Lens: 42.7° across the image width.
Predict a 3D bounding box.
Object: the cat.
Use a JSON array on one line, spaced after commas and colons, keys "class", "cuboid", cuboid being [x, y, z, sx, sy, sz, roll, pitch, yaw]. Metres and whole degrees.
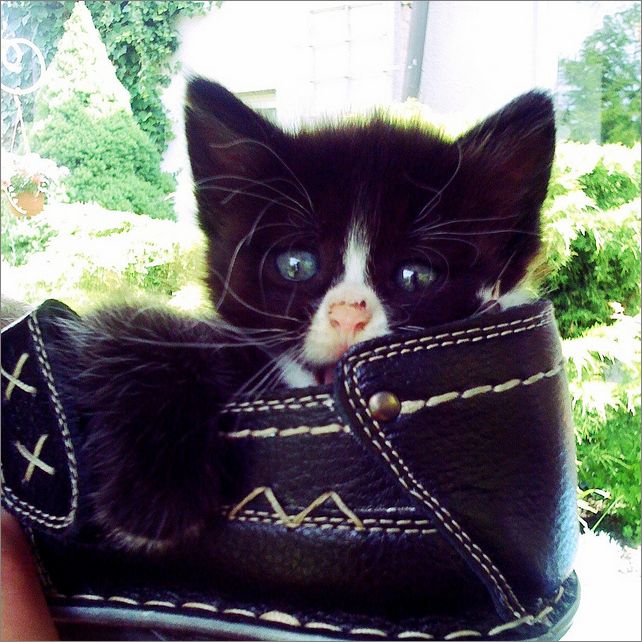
[{"class": "cat", "cuboid": [-0.015, -0.014, 0.456, 0.259, 0.120, 0.327, 4, 32, 9]}]
